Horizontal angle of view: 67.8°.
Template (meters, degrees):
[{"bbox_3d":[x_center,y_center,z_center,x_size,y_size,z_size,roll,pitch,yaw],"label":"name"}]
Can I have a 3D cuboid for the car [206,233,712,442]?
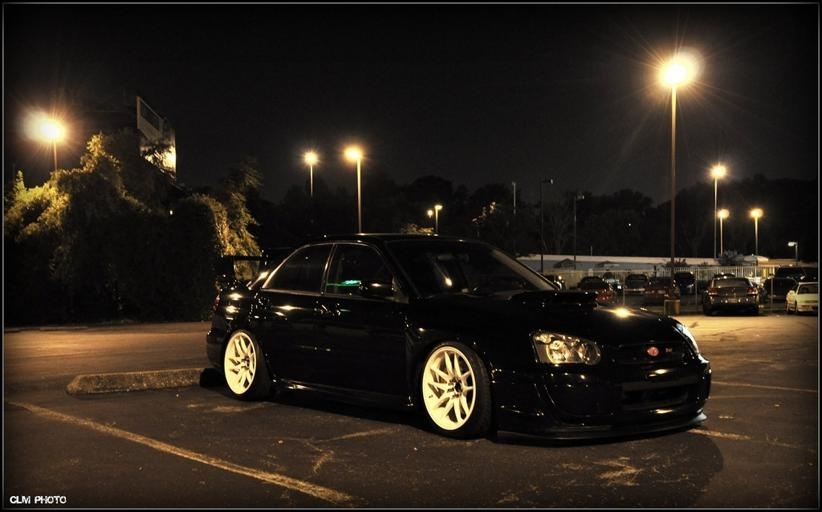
[{"bbox_3d":[0.315,0.911,7.720,5.786,2.370,1.152,0,3,28],"label":"car"}]

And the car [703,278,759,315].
[{"bbox_3d":[14.396,1.818,28.165,1.367,0.878,2.922,-1,5,13],"label":"car"}]

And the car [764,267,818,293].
[{"bbox_3d":[24.127,1.506,38.750,4.212,1.383,1.699,0,-2,-17],"label":"car"}]
